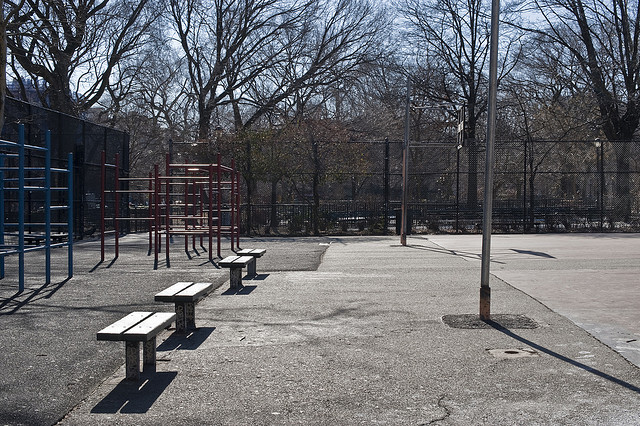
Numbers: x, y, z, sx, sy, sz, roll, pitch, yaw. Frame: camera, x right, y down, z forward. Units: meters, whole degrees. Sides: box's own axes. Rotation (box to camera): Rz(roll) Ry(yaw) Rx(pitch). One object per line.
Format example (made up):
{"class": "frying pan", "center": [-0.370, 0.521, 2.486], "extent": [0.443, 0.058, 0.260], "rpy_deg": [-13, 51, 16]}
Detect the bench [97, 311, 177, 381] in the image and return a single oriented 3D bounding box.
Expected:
{"class": "bench", "center": [-2.505, 1.886, 8.873], "extent": [0.731, 0.687, 1.437], "rpy_deg": [-2, 2, 0]}

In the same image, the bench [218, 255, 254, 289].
{"class": "bench", "center": [-1.808, 1.262, 13.318], "extent": [0.525, 0.602, 0.651], "rpy_deg": [-1, 1, 3]}

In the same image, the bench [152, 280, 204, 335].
{"class": "bench", "center": [-2.206, 1.655, 10.401], "extent": [0.631, 0.670, 1.400], "rpy_deg": [-2, -3, 4]}
